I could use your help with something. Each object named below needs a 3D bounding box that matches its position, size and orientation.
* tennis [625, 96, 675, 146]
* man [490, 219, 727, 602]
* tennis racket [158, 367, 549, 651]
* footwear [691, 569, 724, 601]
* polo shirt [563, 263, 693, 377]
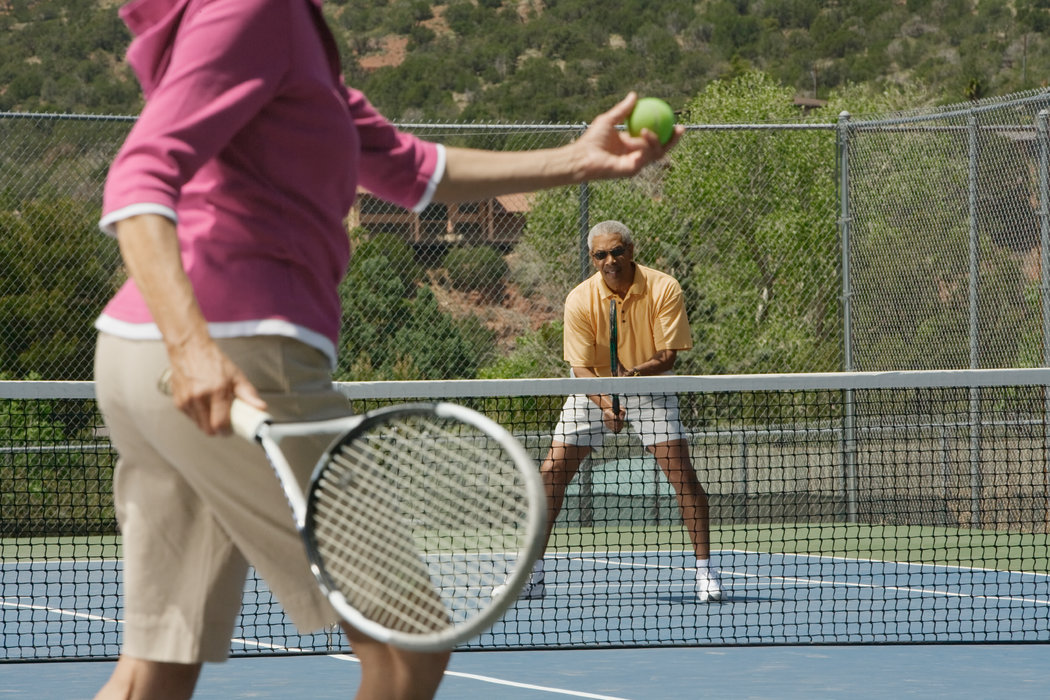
[{"bbox_3d":[0.487,-0.930,5.519,0.170,0.212,0.241,-2,40,-3],"label":"tennis"},{"bbox_3d":[0.553,0.448,8.897,1.317,2.880,1.450,-2,28,3],"label":"man"},{"bbox_3d":[-0.488,0.462,4.591,1.495,0.706,0.126,33,25,25],"label":"tennis racket"},{"bbox_3d":[1.119,1.441,8.665,0.099,0.139,0.283,0,2,1],"label":"footwear"},{"bbox_3d":[0.627,-0.186,8.940,0.917,1.040,0.568,-2,-2,3],"label":"polo shirt"}]
